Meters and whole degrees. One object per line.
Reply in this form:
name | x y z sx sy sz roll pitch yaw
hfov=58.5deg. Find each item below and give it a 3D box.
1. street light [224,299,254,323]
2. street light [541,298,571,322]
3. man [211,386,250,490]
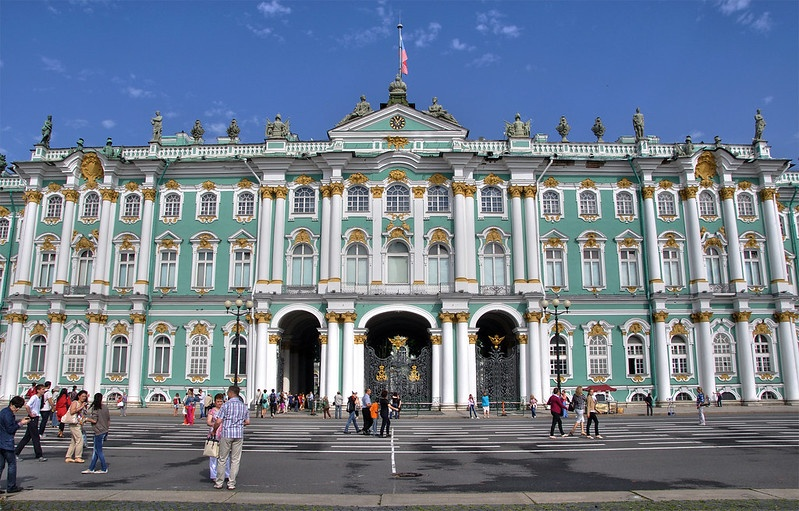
street light | -12.206 4.221 54.315 2.611 1.932 0.626 0 -11 1
street light | 11.936 4.209 54.993 2.418 1.818 0.573 5 -14 -24
man | -6.437 6.904 27.163 1.175 3.809 1.029 2 -12 -13
